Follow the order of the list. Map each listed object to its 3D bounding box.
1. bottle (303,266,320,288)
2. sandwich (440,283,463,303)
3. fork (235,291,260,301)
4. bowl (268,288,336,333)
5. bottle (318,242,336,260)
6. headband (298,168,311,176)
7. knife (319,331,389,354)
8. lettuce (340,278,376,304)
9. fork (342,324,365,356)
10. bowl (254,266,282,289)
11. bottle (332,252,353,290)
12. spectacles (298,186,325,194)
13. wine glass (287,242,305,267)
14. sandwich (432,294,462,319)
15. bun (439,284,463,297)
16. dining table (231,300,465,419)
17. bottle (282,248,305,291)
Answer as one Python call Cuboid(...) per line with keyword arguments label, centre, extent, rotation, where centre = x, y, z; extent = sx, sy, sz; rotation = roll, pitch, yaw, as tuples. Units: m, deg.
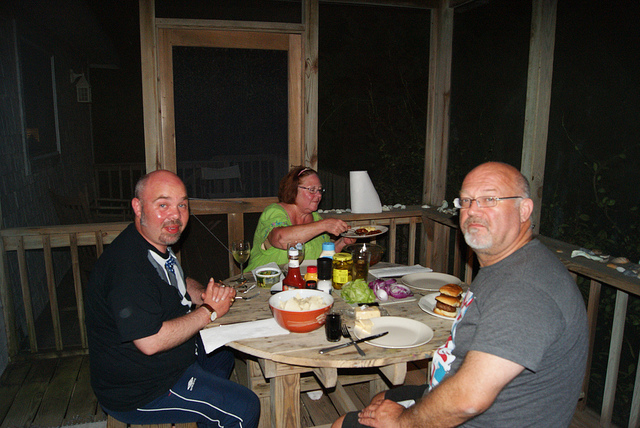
Cuboid(label="bottle", centre=(-0.052, 0.421, 3.057), extent=(0.100, 0.155, 0.094), rotation=(1, -1, 0))
Cuboid(label="sandwich", centre=(0.820, 0.476, 2.834), extent=(0.113, 0.038, 0.111), rotation=(-7, 19, -41))
Cuboid(label="fork", centre=(-0.466, 0.542, 2.997), extent=(0.168, 0.021, 0.082), rotation=(-6, 8, -26))
Cuboid(label="bowl", centre=(-0.119, 0.598, 2.760), extent=(0.438, 0.187, 0.446), rotation=(8, 2, 0))
Cuboid(label="bottle", centre=(0.054, 0.255, 3.166), extent=(0.111, 0.170, 0.098), rotation=(2, 0, -4))
Cuboid(label="headband", centre=(-0.124, -0.355, 3.819), extent=(0.057, 0.057, 0.142), rotation=(2, 8, 30))
Cuboid(label="knife", centre=(0.190, 0.717, 2.546), extent=(0.322, 0.025, 0.034), rotation=(-11, 44, -22))
Cuboid(label="lettuce", centre=(0.250, 0.470, 2.909), extent=(0.162, 0.075, 0.162), rotation=(-2, 22, -23))
Cuboid(label="fork", centre=(0.176, 0.701, 2.574), extent=(0.045, 0.045, 0.302), rotation=(0, 37, -24))
Cuboid(label="bowl", centre=(-0.362, 0.435, 3.172), extent=(0.139, 0.067, 0.138), rotation=(0, 9, 0))
Cuboid(label="bottle", centre=(0.155, 0.385, 3.153), extent=(0.163, 0.244, 0.165), rotation=(-1, 16, 0))
Cuboid(label="spectacles", centre=(-0.050, -0.208, 3.811), extent=(0.255, 0.068, 0.089), rotation=(-8, 9, -39))
Cuboid(label="wine glass", centre=(-0.142, 0.270, 3.102), extent=(0.137, 0.153, 0.135), rotation=(1, 7, 7))
Cuboid(label="sandwich", centre=(0.778, 0.558, 2.805), extent=(0.145, 0.083, 0.147), rotation=(7, 11, 26))
Cuboid(label="bun", centre=(0.813, 0.462, 2.830), extent=(0.082, 0.025, 0.084), rotation=(6, 13, 32))
Cuboid(label="dining table", centre=(0.165, 0.796, 2.544), extent=(0.853, 0.571, 0.908), rotation=(-4, 17, -15))
Cuboid(label="bottle", centre=(-0.176, 0.354, 2.971), extent=(0.148, 0.262, 0.140), rotation=(-3, 8, 0))
